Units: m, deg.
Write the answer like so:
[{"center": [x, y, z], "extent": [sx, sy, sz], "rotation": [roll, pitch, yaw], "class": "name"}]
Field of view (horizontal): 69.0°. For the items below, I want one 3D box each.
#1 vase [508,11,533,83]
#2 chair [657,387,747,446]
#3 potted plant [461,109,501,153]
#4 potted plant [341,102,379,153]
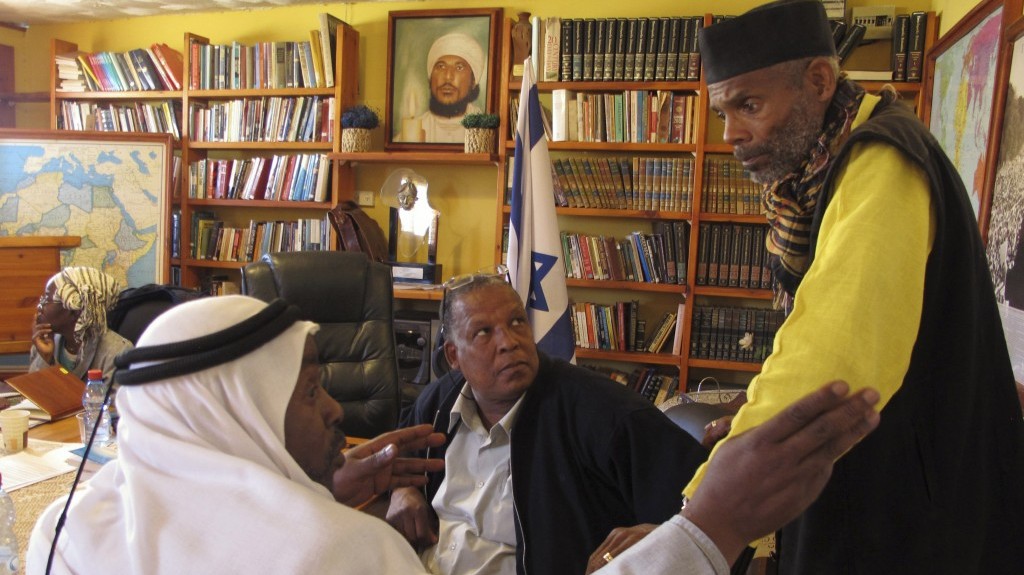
[{"center": [0.068, -1.852, 5.388], "extent": [0.179, 0.429, 0.147], "rotation": [-3, 48, -6], "class": "vase"}, {"center": [0.919, 0.554, 3.507], "extent": [0.319, 0.149, 0.373], "rotation": [-2, 2, -23], "class": "chair"}, {"center": [-0.255, -1.158, 5.416], "extent": [0.309, 0.301, 0.299], "rotation": [-4, 14, -29], "class": "potted plant"}, {"center": [-1.153, -1.196, 5.589], "extent": [0.282, 0.348, 0.187], "rotation": [2, 3, -2], "class": "potted plant"}]
